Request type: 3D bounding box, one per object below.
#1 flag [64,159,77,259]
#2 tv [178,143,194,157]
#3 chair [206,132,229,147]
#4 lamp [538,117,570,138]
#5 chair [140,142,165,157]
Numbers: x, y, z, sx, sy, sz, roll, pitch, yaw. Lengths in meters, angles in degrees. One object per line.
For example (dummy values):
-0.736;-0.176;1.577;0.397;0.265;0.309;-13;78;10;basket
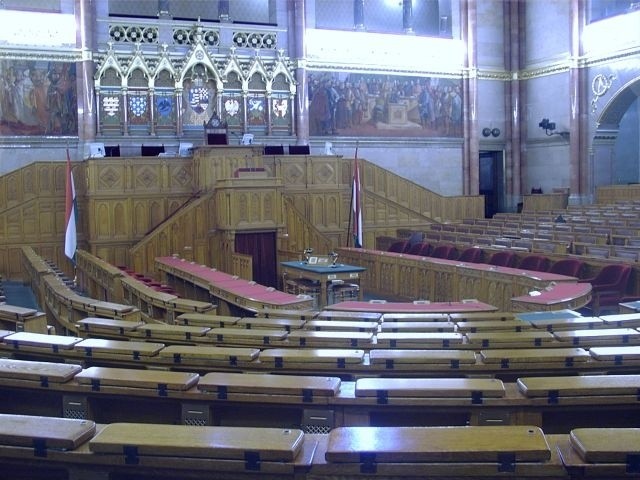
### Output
-5.527;-0.671;13.366;0.241;2.272;1.419;-2;4;-23;flag
-3.887;-2.654;17.530;0.387;0.528;1.546;-1;4;-12;tv
-2.864;-2.833;16.775;0.552;0.315;0.259;-1;4;0;chair
9.160;-4.452;24.098;0.657;0.953;1.501;-2;4;-24;lamp
-4.911;-2.618;17.754;0.592;0.482;1.961;-2;4;-15;chair
